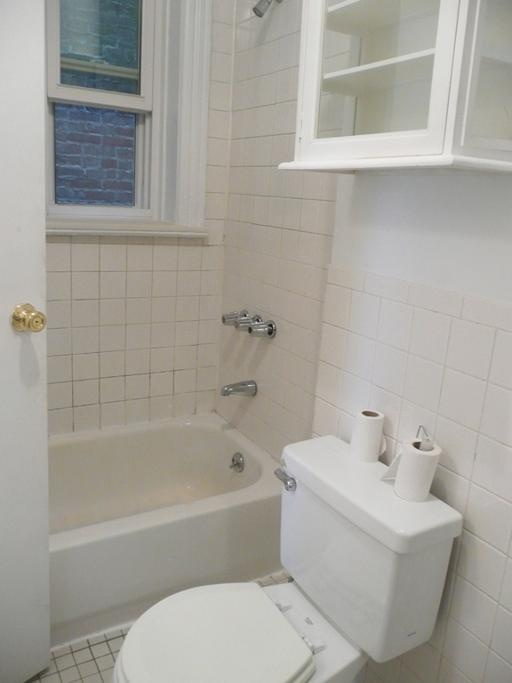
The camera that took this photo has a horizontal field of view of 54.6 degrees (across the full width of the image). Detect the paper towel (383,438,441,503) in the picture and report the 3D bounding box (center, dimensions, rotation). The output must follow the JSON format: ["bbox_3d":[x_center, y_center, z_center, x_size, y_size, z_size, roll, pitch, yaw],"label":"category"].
[{"bbox_3d":[0.333,0.254,1.112,0.111,0.135,0.094,26,24,30],"label":"paper towel"}]

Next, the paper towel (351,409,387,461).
[{"bbox_3d":[0.270,0.222,1.274,0.092,0.130,0.107,4,25,1],"label":"paper towel"}]
